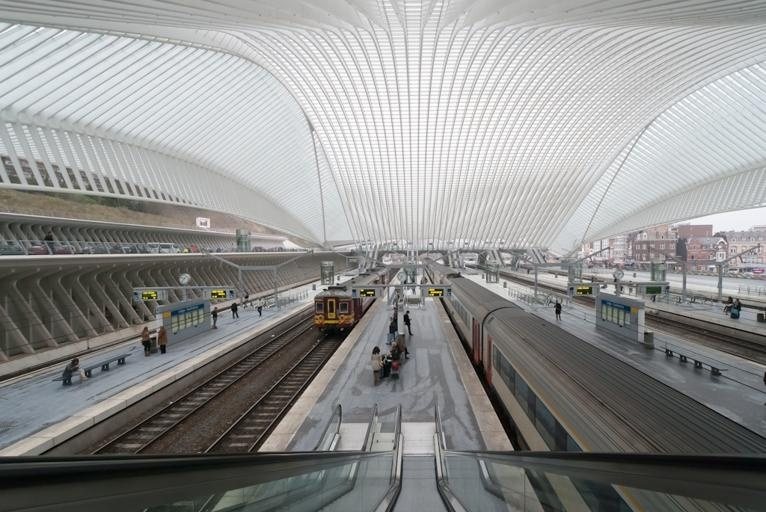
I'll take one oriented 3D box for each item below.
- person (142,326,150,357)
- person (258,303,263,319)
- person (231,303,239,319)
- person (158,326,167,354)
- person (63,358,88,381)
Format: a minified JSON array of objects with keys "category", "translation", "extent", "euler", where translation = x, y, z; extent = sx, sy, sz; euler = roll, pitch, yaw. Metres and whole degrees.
[{"category":"person","translation":[-13.546,4.680,21.804],"extent":[0.338,1.747,1.002],"euler":[-3,0,-34]},{"category":"person","translation":[-10.697,4.563,32.923],"extent":[0.337,0.988,1.021],"euler":[-3,0,-20]},{"category":"person","translation":[-12.351,4.335,31.746],"extent":[0.476,1.353,1.948],"euler":[-3,0,-22]},{"category":"person","translation":[-12.738,4.646,21.886],"extent":[0.351,1.629,0.570],"euler":[-3,0,-34]},{"category":"person","translation":[-14.086,5.038,17.434],"extent":[0.784,1.180,1.298],"euler":[-2,0,-30]}]
